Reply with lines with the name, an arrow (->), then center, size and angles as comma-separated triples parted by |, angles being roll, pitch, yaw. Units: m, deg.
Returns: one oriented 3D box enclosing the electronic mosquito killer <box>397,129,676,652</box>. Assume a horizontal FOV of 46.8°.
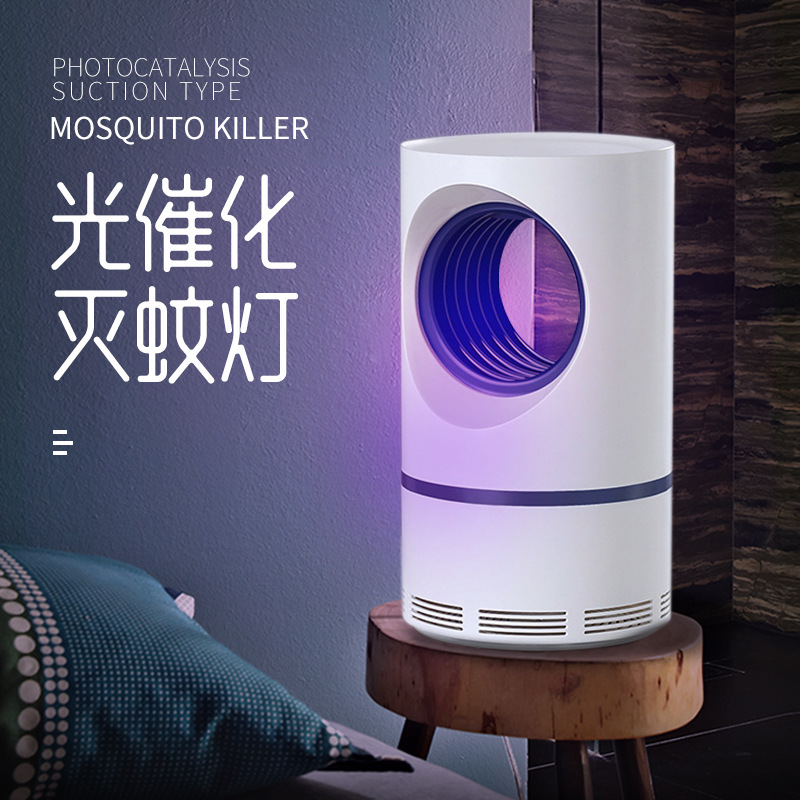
electronic mosquito killer -> 0.189, -0.019, 1.349 | 0.385, 0.704, 0.285 | 1, 7, 24
